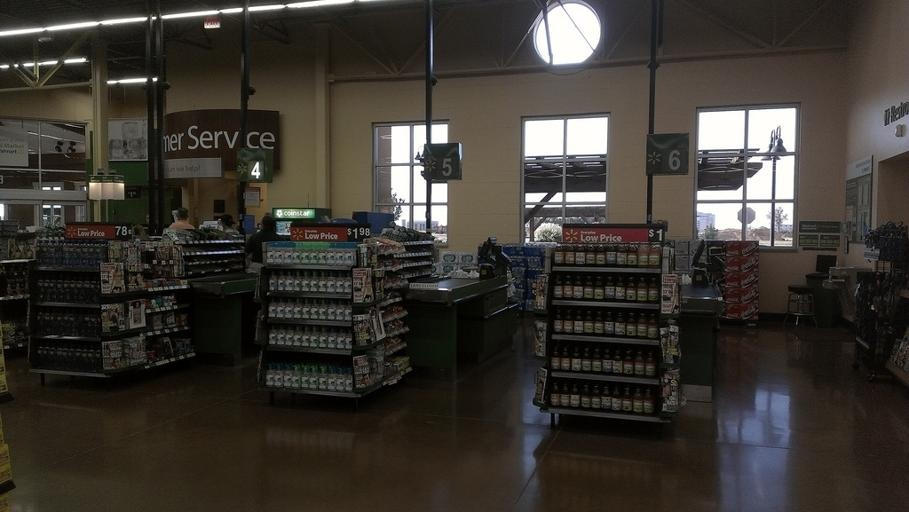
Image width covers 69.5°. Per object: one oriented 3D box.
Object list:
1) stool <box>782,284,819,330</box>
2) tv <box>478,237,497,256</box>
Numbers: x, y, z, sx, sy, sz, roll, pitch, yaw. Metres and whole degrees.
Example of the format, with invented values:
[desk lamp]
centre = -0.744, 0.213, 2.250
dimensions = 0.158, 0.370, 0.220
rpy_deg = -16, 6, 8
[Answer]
[stool]
centre = 8.845, 1.228, 16.757
dimensions = 0.643, 0.977, 0.814
rpy_deg = 2, 5, 22
[tv]
centre = 0.735, -0.207, 14.483
dimensions = 0.424, 0.393, 0.426
rpy_deg = 3, 2, 7
